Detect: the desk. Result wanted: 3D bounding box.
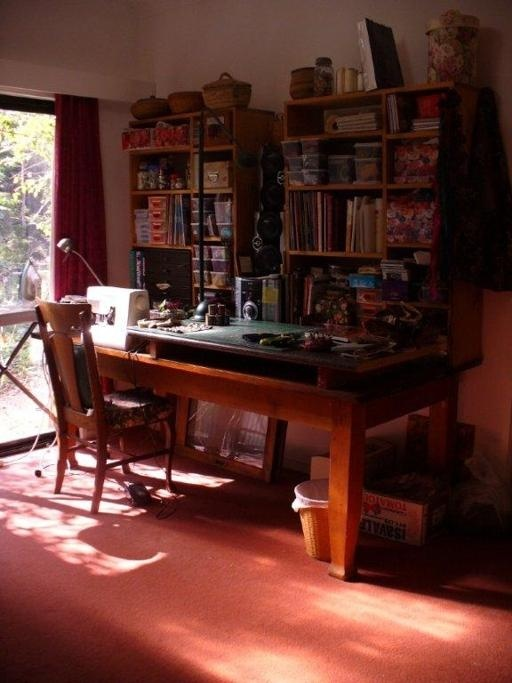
[{"bbox_3d":[-0.098,0.341,2.571,1.856,1.049,0.798,1,3,27],"label":"desk"}]

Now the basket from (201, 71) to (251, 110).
[{"bbox_3d":[-0.188,-1.478,3.296,0.291,0.252,0.152,0,2,12],"label":"basket"}]

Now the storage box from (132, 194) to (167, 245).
[{"bbox_3d":[-0.744,-0.855,3.909,0.206,0.335,0.363,-8,11,-37],"label":"storage box"}]

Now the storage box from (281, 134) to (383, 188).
[{"bbox_3d":[0.417,-0.898,2.863,0.443,0.176,0.284,9,15,34],"label":"storage box"}]

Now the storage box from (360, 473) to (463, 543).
[{"bbox_3d":[0.663,0.741,2.479,0.327,0.236,0.316,2,3,34],"label":"storage box"}]

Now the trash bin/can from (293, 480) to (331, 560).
[{"bbox_3d":[0.243,0.750,2.313,0.233,0.245,0.239,-1,1,5],"label":"trash bin/can"}]

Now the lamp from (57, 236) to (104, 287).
[{"bbox_3d":[-1.165,-0.542,3.643,0.316,0.293,0.915,-1,3,-16],"label":"lamp"}]
